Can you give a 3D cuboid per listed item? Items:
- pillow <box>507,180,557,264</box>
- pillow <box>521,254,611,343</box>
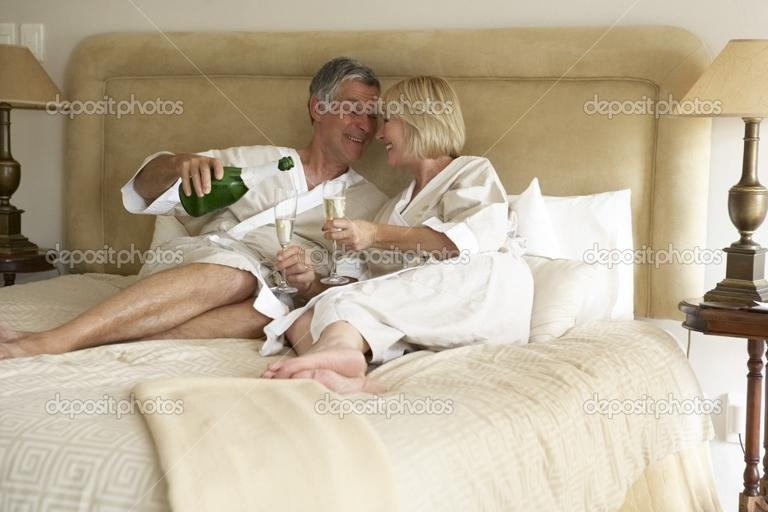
[{"bbox_3d":[0.250,-0.044,1.103,0.032,0.111,0.107,-29,33,-18],"label":"pillow"},{"bbox_3d":[0.315,0.067,1.104,0.135,0.135,0.041,9,11,37],"label":"pillow"}]
